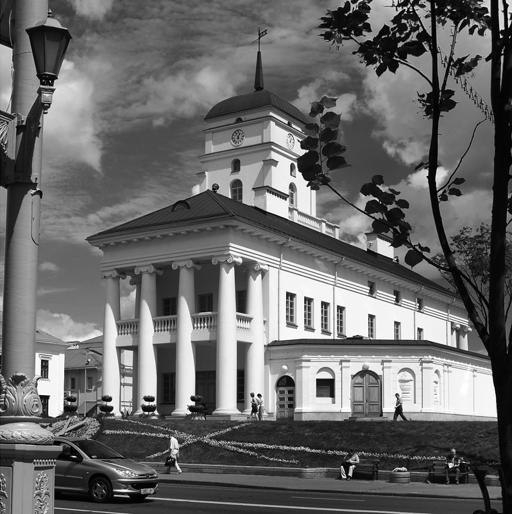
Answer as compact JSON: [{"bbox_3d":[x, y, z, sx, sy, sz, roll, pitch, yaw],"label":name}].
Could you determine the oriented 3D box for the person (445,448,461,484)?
[{"bbox_3d":[5.038,5.421,27.819,0.594,1.089,0.374,-1,-47,14],"label":"person"}]

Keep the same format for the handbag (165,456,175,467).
[{"bbox_3d":[-2.706,6.468,34.152,0.279,0.350,0.545,0,-17,-3],"label":"handbag"}]

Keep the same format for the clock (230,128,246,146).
[{"bbox_3d":[-1.067,-7.111,64.879,0.963,1.181,0.149,-10,-17,40],"label":"clock"}]

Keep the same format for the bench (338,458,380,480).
[{"bbox_3d":[3.214,6.689,33.674,1.167,0.722,1.390,-4,-17,9],"label":"bench"}]
